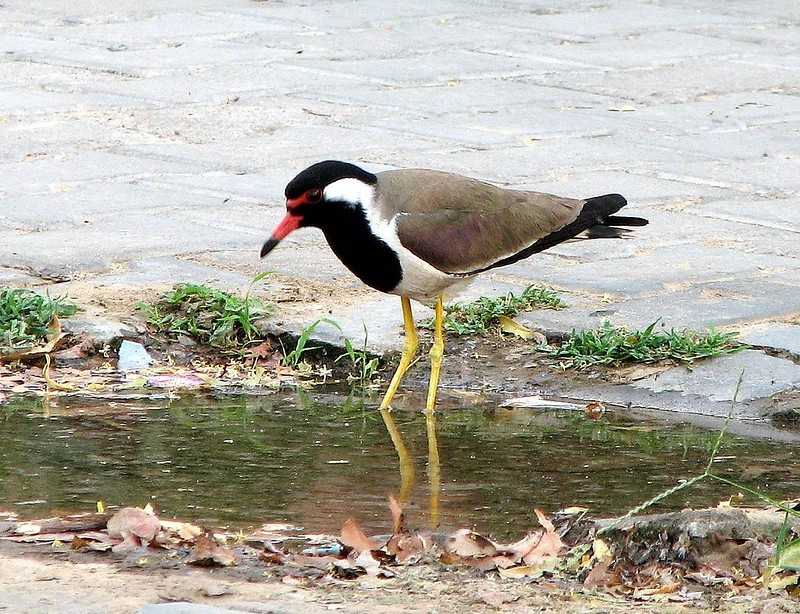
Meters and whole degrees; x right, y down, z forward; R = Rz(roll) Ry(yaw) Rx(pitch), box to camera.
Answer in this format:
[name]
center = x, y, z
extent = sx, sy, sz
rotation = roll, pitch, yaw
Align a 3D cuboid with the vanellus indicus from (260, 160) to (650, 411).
[vanellus indicus]
center = 0.258, -0.155, 5.894
extent = 1.617, 1.323, 0.734
rotation = -9, 18, -38
